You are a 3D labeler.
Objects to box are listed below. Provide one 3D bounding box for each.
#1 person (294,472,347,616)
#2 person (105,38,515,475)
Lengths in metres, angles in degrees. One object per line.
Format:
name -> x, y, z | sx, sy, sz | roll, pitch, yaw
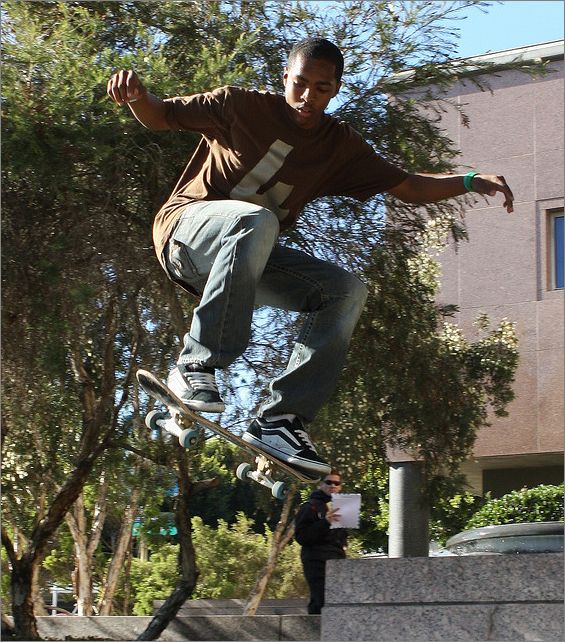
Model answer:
person -> 0.321, 1.940, 8.908 | 0.472, 1.220, 1.021 | 4, -10, 3
person -> -0.079, -0.383, 6.250 | 1.991, 2.623, 1.181 | 4, -11, -1
